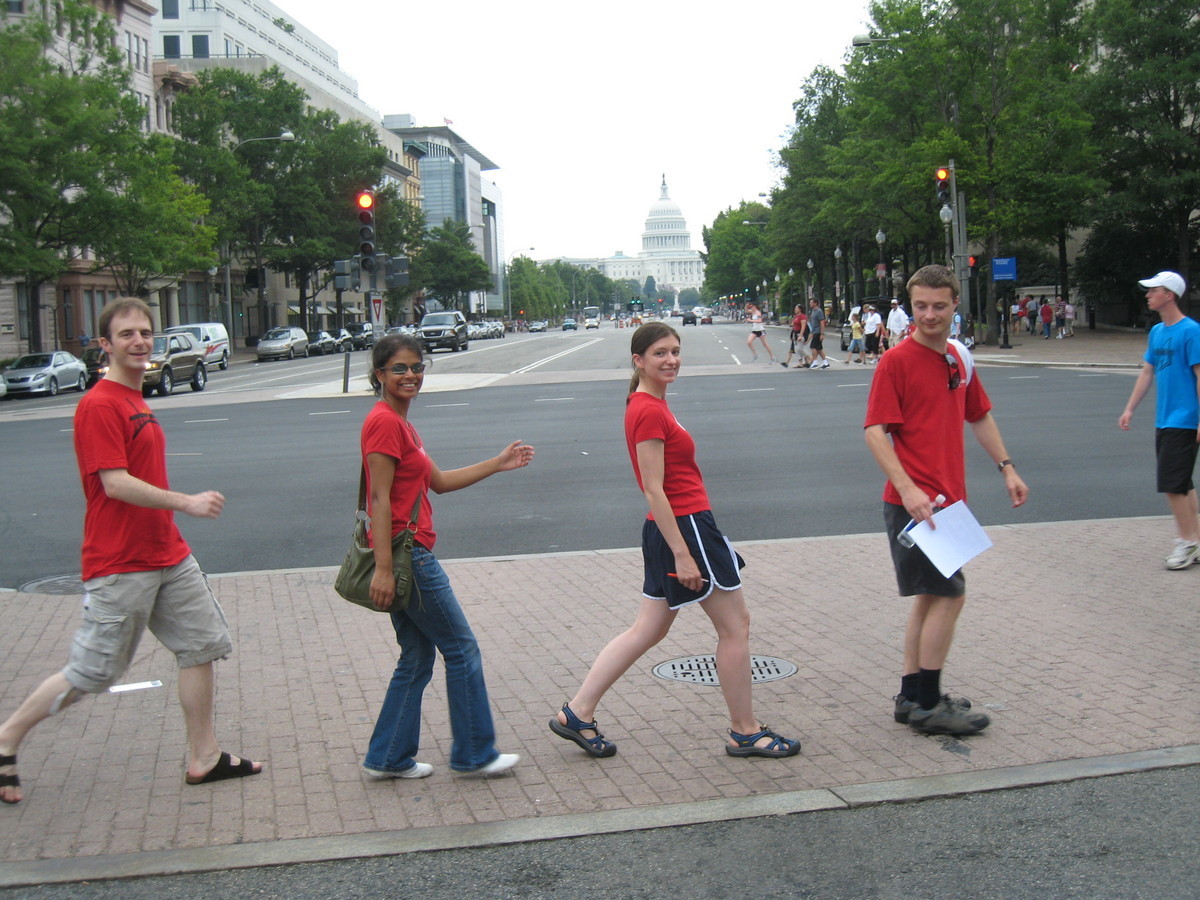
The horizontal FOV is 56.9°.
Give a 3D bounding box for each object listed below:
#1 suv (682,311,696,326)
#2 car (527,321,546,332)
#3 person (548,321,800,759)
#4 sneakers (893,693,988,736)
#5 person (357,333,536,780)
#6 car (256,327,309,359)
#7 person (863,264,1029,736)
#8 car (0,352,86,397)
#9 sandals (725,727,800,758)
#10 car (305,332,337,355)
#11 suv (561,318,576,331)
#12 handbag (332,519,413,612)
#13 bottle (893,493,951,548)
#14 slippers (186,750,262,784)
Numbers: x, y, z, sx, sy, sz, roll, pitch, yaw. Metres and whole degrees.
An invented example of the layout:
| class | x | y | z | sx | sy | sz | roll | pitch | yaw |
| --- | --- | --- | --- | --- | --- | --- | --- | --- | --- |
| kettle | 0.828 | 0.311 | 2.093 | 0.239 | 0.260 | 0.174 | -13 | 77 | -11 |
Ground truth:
| class | x | y | z | sx | sy | sz | roll | pitch | yaw |
| --- | --- | --- | --- | --- | --- | --- | --- | --- | --- |
| suv | 12.230 | -18.159 | 150.758 | 2.393 | 1.680 | 3.690 | -1 | 3 | 0 |
| car | -7.853 | -15.633 | 140.301 | 1.433 | 0.963 | 3.115 | -2 | 1 | 4 |
| person | 0.351 | 0.432 | 5.273 | 1.114 | 2.032 | 0.489 | -2 | 10 | 8 |
| sneakers | 1.681 | 1.314 | 5.398 | 0.219 | 0.096 | 0.288 | -4 | 2 | -7 |
| person | -0.815 | 0.500 | 5.167 | 0.720 | 2.046 | 0.634 | -5 | 10 | -7 |
| car | -18.002 | -5.969 | 63.012 | 1.575 | 1.284 | 2.938 | -1 | 1 | 9 |
| person | 1.710 | 0.230 | 5.539 | 0.694 | 2.272 | 0.835 | 2 | 11 | 27 |
| car | -19.462 | -2.635 | 38.982 | 1.265 | 0.904 | 2.829 | -3 | 0 | 8 |
| sandals | 0.773 | 1.377 | 5.207 | 0.288 | 0.126 | 0.147 | -1 | 2 | -1 |
| car | -17.093 | -6.542 | 68.760 | 1.111 | 1.386 | 3.476 | -3 | 10 | 1 |
| suv | -3.695 | -15.025 | 132.941 | 1.577 | 1.242 | 2.594 | -1 | 1 | 2 |
| handbag | -1.016 | 0.508 | 4.947 | 0.380 | 0.403 | 0.203 | 0 | 11 | 19 |
| bottle | 1.555 | 0.360 | 5.353 | 0.233 | 0.240 | 0.247 | 0 | 11 | 15 |
| slippers | -1.729 | 1.489 | 5.186 | 0.372 | 0.139 | 0.126 | -4 | 6 | -22 |
